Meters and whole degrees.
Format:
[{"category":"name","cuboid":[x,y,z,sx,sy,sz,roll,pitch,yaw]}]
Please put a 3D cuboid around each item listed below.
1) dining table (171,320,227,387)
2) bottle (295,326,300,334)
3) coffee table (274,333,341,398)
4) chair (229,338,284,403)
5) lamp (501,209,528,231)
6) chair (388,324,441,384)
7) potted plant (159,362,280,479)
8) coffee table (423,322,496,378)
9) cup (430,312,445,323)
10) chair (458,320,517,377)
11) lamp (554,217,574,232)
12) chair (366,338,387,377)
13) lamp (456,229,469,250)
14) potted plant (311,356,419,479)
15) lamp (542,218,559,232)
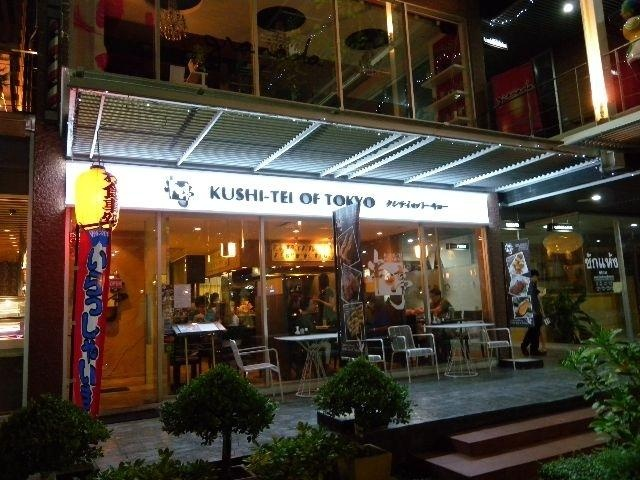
[{"category":"dining table","cuboid":[-2.161,2.041,8.958,1.308,1.335,0.922,3,-14,-22]},{"category":"bottle","cuboid":[-0.426,1.725,9.560,0.110,0.168,0.117,1,-5,0]},{"category":"coffee table","cuboid":[-0.115,2.298,9.405,1.380,0.916,0.832,-1,-7,-12]},{"category":"chair","cuboid":[-1.122,2.291,8.826,0.809,1.059,0.714,-5,-2,-28]},{"category":"lamp","cuboid":[4.701,-0.506,12.146,0.522,0.495,0.182,3,-3,-26]},{"category":"chair","cuboid":[1.824,2.227,9.954,0.829,0.999,0.721,4,-11,-37]},{"category":"potted plant","cuboid":[-1.025,1.778,5.389,1.178,1.224,1.039,4,-13,-20]},{"category":"coffee table","cuboid":[2.988,2.266,10.674,1.217,0.843,1.192,-5,-9,-4]},{"category":"cup","cuboid":[2.544,1.689,10.787,0.248,0.238,0.157,2,-14,1]},{"category":"chair","cuboid":[3.744,2.434,11.238,0.895,1.389,0.760,-17,-3,-26]},{"category":"lamp","cuboid":[6.194,-0.373,12.660,0.407,0.378,0.395,1,0,20]},{"category":"chair","cuboid":[1.142,2.326,10.184,0.352,0.599,0.329,-4,2,6]},{"category":"lamp","cuboid":[3.277,0.002,11.364,0.103,0.397,0.438,8,-7,39]},{"category":"potted plant","cuboid":[0.522,1.924,5.898,0.960,0.970,0.872,5,-10,-11]},{"category":"lamp","cuboid":[5.907,-0.379,12.840,0.236,0.324,0.300,4,4,25]}]
